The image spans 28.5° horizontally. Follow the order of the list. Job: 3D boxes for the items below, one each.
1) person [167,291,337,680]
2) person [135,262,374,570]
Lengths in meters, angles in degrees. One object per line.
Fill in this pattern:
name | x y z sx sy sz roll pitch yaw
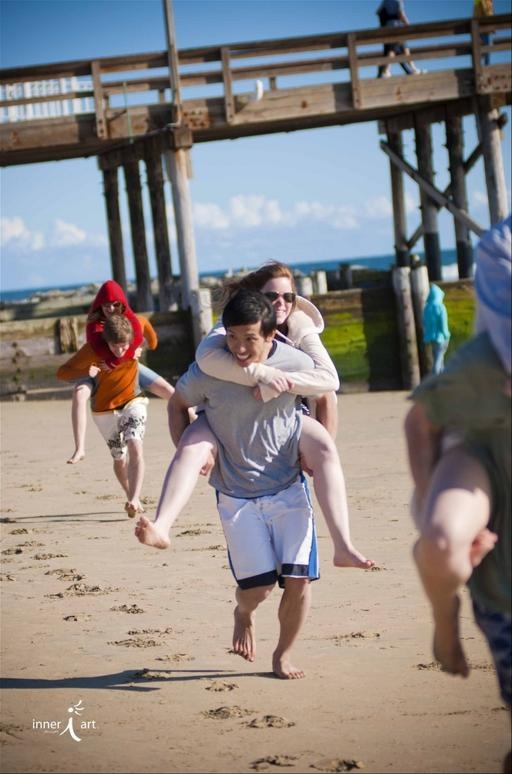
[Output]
person | -0.014 0.407 3.794 0.703 1.459 0.513 -3 6 7
person | 0.092 0.046 3.871 1.020 1.128 1.175 4 11 0
